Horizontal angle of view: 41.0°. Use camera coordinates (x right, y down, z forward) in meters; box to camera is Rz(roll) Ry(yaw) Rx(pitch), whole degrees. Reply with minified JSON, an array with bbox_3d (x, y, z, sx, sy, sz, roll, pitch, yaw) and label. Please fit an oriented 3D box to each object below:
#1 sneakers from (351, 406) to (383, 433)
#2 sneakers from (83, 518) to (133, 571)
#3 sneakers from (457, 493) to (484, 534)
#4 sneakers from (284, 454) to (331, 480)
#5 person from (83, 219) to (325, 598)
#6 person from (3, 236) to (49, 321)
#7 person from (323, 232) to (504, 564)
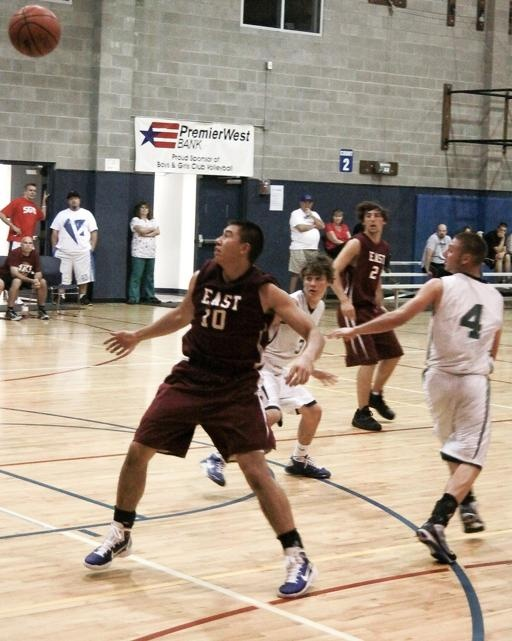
[{"bbox_3d":[0.961,0.810,5.553,0.125,0.176,0.334,-1,2,-43],"label":"sneakers"},{"bbox_3d":[-0.539,0.819,2.487,0.088,0.131,0.238,5,1,24],"label":"sneakers"},{"bbox_3d":[0.950,0.860,3.084,0.077,0.132,0.211,-7,8,17],"label":"sneakers"},{"bbox_3d":[0.316,0.891,4.158,0.304,0.109,0.108,4,5,5],"label":"sneakers"},{"bbox_3d":[-0.135,0.280,2.434,0.792,1.265,0.321,5,4,18],"label":"person"},{"bbox_3d":[-3.877,-0.696,11.535,0.802,1.394,1.134,3,4,-16],"label":"person"},{"bbox_3d":[0.886,0.295,2.966,0.650,1.358,0.506,3,4,-24],"label":"person"}]
